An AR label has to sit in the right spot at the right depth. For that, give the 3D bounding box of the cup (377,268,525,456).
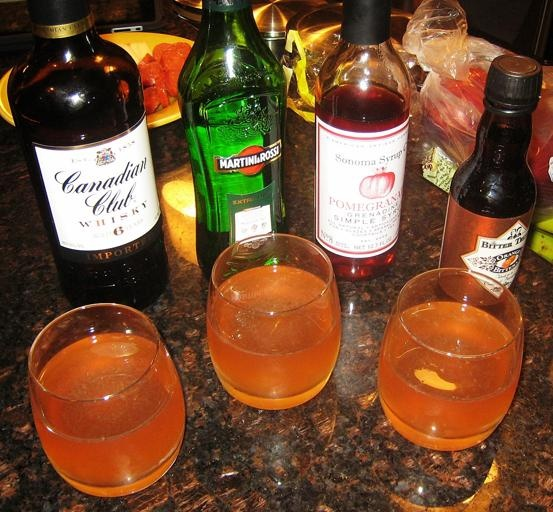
[{"bbox_3d":[0.167,0.107,0.490,0.119,0.162,0.123,-2,39,2],"label":"cup"}]

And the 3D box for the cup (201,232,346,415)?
[{"bbox_3d":[-0.003,0.094,0.524,0.113,0.092,0.109,3,7,0],"label":"cup"}]

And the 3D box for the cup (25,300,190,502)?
[{"bbox_3d":[-0.155,0.137,0.482,0.125,0.154,0.136,-2,39,2],"label":"cup"}]
